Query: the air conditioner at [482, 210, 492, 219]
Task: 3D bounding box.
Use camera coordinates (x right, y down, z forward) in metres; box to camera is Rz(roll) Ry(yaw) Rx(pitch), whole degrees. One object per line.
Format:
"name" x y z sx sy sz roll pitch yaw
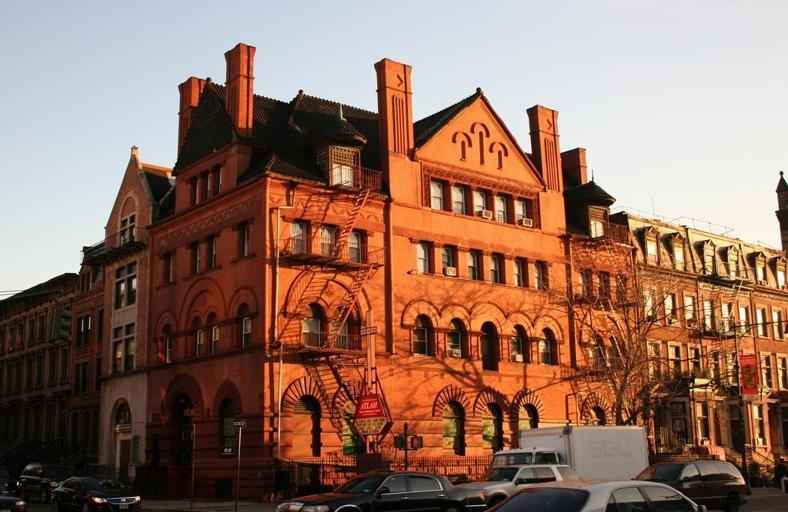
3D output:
"air conditioner" 6.723 -2.987 66.410 1.018 0.661 0.511 8 -9 -40

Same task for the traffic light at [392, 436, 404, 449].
"traffic light" 0.217 9.809 48.935 0.337 0.757 0.952 5 -23 -20

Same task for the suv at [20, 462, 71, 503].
"suv" -22.140 14.548 59.296 2.684 2.423 4.481 12 -22 -38

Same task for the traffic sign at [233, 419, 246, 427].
"traffic sign" -8.199 8.879 48.903 0.525 0.450 0.541 -3 -21 0

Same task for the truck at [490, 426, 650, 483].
"truck" 9.905 11.827 51.436 9.346 4.492 4.511 4 -12 -39

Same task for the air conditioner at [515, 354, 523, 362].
"air conditioner" 9.020 7.326 66.351 0.848 0.654 0.182 17 -29 -42
